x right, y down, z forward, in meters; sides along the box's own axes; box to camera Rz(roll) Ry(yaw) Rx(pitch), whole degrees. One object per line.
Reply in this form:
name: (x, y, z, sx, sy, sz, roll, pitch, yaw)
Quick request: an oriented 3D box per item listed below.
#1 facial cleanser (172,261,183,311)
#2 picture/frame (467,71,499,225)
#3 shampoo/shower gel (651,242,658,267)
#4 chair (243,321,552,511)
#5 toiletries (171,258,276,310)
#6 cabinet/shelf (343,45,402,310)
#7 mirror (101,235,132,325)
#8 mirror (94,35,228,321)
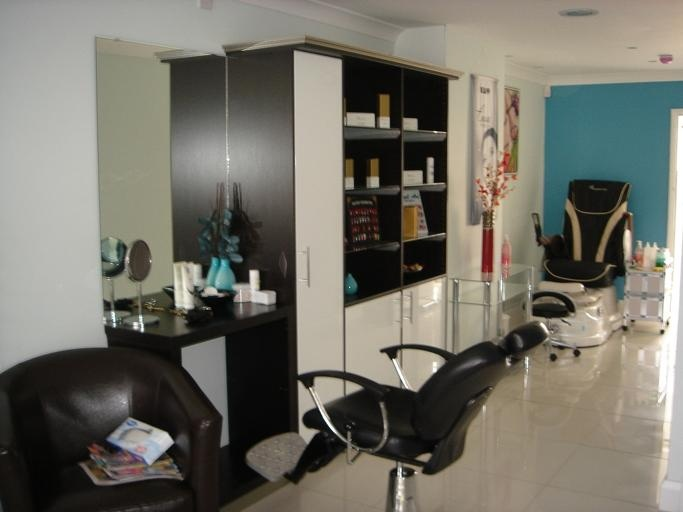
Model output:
facial cleanser: (-1.020, 0.155, 3.418, 0.061, 0.239, 0.047, 10, 18, 27)
picture/frame: (1.343, -1.002, 5.167, 0.114, 1.363, 0.631, 4, 11, 31)
shampoo/shower gel: (3.534, -0.011, 6.127, 0.067, 0.250, 0.299, 4, 11, 31)
chair: (0.270, 1.009, 3.287, 1.498, 1.470, 0.876, 9, 8, 35)
toiletries: (-0.751, 0.164, 3.389, 0.539, 0.258, 0.307, 4, 4, 21)
cabinet/shelf: (0.161, -0.583, 4.085, 0.425, 1.709, 0.524, 7, 13, 42)
mirror: (-1.312, 0.135, 3.142, 0.091, 0.487, 0.177, 1, 10, 14)
mirror: (-1.175, -0.498, 3.251, 0.085, 1.494, 0.614, 5, 12, 35)
